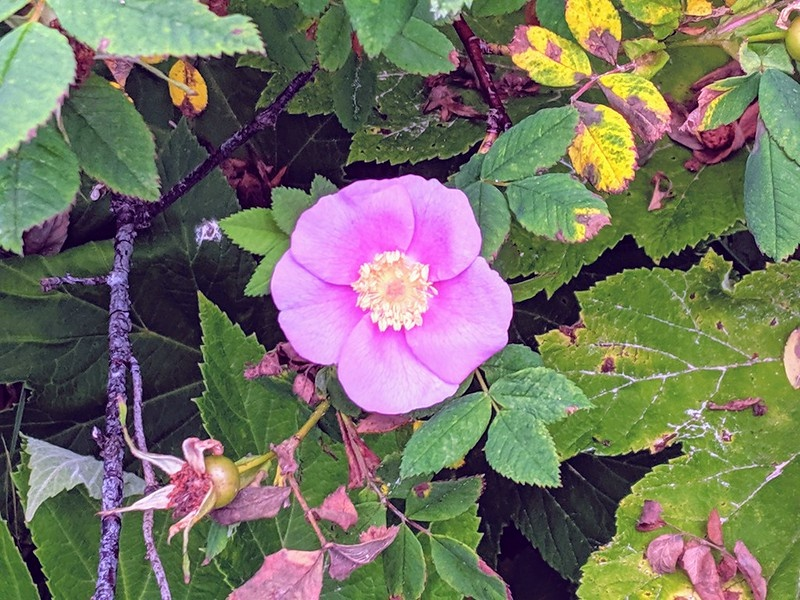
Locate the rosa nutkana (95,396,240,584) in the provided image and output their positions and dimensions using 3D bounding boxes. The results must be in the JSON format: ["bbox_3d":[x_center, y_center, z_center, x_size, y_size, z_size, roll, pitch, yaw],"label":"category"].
[{"bbox_3d":[-0.455,0.440,2.074,0.400,0.149,0.276,-32,71,3],"label":"rosa nutkana"}]
